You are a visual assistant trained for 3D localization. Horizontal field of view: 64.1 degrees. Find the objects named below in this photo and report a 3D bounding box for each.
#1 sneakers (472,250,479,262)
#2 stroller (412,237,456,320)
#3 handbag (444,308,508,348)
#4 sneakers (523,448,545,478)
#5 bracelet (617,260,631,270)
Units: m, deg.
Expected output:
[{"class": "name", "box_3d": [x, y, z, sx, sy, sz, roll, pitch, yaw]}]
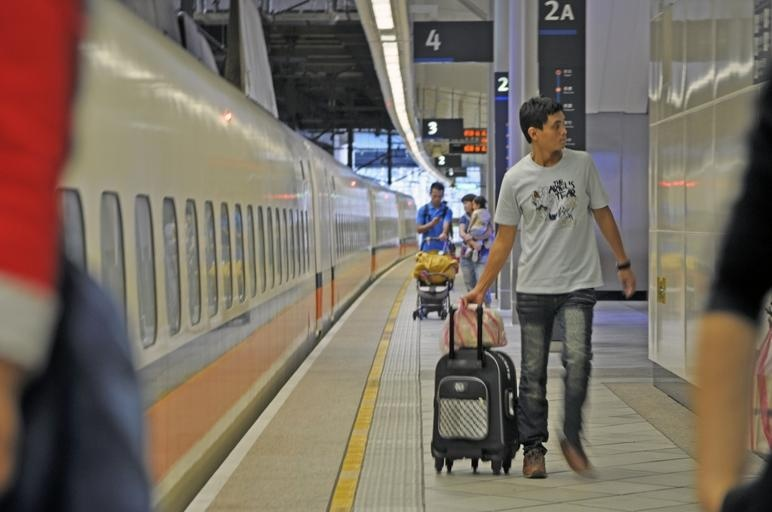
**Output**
[{"class": "sneakers", "box_3d": [1.765, -0.002, 12.170, 0.079, 0.255, 0.097, 1, 8, 18]}, {"class": "stroller", "box_3d": [1.179, 0.549, 12.239, 0.905, 1.831, 1.203, 0, -5, 4]}, {"class": "handbag", "box_3d": [0.682, 0.551, 4.631, 0.385, 0.308, 0.308, -1, -11, -1]}, {"class": "sneakers", "box_3d": [1.080, 1.484, 4.456, 0.161, 0.237, 0.101, 0, 3, 13]}, {"class": "bracelet", "box_3d": [1.731, 0.078, 4.514, 0.078, 0.045, 0.104, -20, 4, -37]}]
